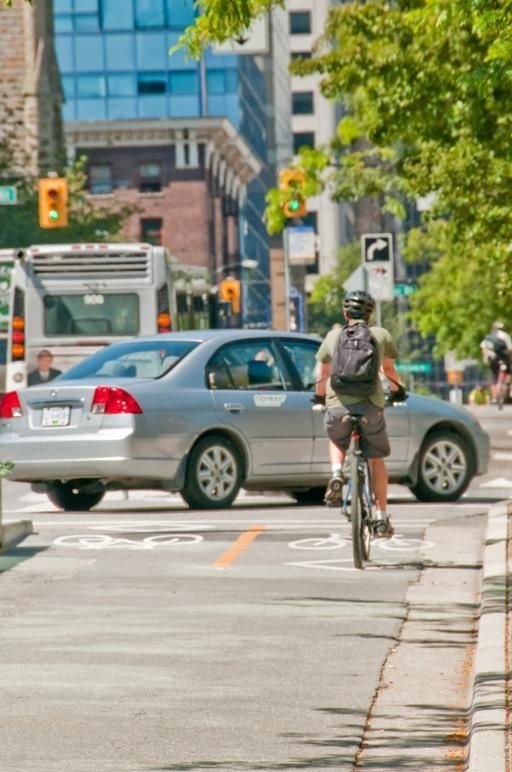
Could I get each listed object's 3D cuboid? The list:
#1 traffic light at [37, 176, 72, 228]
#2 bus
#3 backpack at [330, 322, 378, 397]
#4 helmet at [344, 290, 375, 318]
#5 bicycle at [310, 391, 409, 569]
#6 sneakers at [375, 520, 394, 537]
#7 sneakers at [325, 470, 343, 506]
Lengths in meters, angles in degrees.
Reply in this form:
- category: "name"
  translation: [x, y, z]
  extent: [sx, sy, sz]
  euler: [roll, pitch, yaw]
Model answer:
- category: "traffic light"
  translation: [-3.293, -3.012, 26.616]
  extent: [0.733, 0.872, 0.735]
  euler: [-5, 5, -27]
- category: "bus"
  translation: [-2.102, -0.936, 20.095]
  extent: [1.426, 1.357, 2.411]
  euler: [-1, 1, 4]
- category: "backpack"
  translation: [0.587, -0.124, 9.090]
  extent: [0.239, 0.400, 0.235]
  euler: [-1, -12, 31]
- category: "helmet"
  translation: [0.595, -0.483, 9.406]
  extent: [0.131, 0.167, 0.175]
  euler: [5, 26, 3]
- category: "bicycle"
  translation: [0.612, 0.560, 9.497]
  extent: [0.562, 0.905, 1.463]
  euler: [-6, 5, 5]
- category: "sneakers"
  translation: [0.724, 0.806, 9.173]
  extent: [0.056, 0.098, 0.150]
  euler: [10, 6, 34]
- category: "sneakers"
  translation: [0.445, 0.599, 9.364]
  extent: [0.081, 0.217, 0.091]
  euler: [10, 48, 8]
